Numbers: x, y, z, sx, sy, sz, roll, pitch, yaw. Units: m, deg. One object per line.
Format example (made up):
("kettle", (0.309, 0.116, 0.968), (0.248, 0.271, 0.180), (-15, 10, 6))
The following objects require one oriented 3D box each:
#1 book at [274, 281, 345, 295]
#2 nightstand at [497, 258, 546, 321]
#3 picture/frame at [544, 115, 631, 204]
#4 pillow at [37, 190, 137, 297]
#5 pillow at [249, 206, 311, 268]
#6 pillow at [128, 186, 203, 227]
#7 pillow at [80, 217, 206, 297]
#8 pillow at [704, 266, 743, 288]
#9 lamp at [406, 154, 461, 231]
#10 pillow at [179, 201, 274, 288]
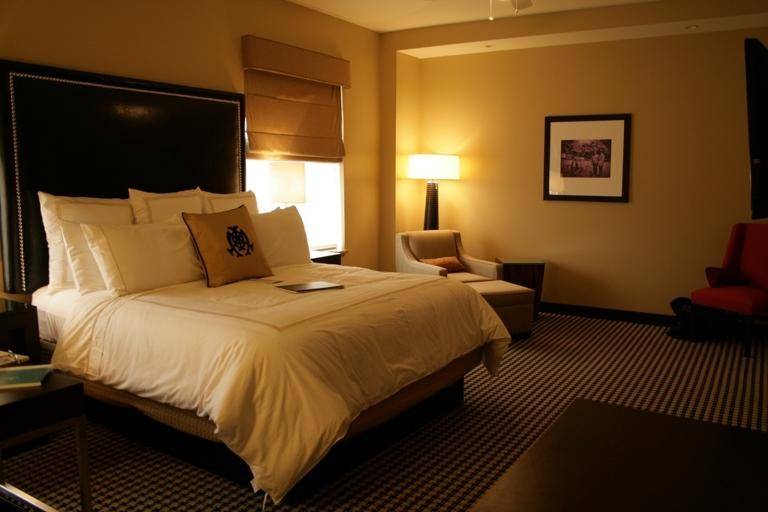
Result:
("book", (-0.542, 0.233, 3.905), (0.296, 0.030, 0.416), (4, 6, 36))
("nightstand", (1.532, 0.393, 6.335), (0.585, 0.923, 0.614), (2, 5, 9))
("picture/frame", (2.405, -1.144, 6.240), (0.952, 1.039, 0.039), (3, 8, 23))
("pillow", (-2.293, -0.085, 4.032), (0.199, 0.689, 0.697), (-6, -1, 29))
("pillow", (-0.918, -0.150, 4.675), (0.234, 0.446, 0.531), (6, 11, 32))
("pillow", (-1.776, -0.388, 4.333), (0.340, 0.244, 0.097), (-4, -11, -45))
("pillow", (-1.750, -0.024, 3.961), (0.724, 0.464, 0.372), (-12, 17, -42))
("pillow", (3.436, 0.219, 5.433), (0.259, 0.356, 0.270), (-2, 0, -23))
("lamp", (0.641, -0.833, 7.044), (0.674, 1.086, 0.685), (14, 23, 33))
("pillow", (-1.190, -0.071, 4.131), (0.178, 0.610, 0.615), (-27, -10, 38))
